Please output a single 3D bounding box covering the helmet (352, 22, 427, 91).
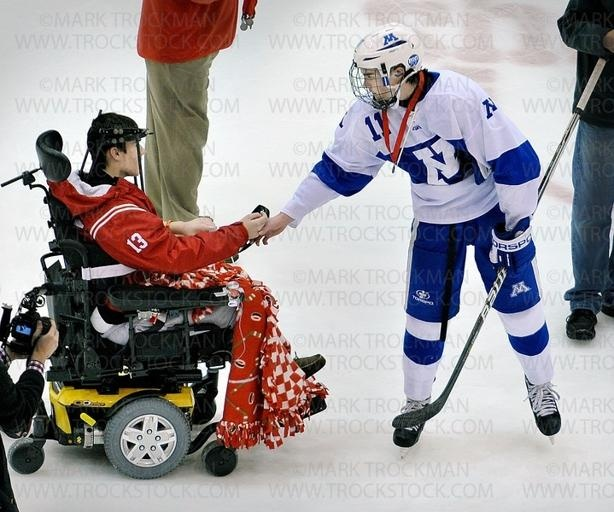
[{"bbox_3d":[0.334,-0.826,4.223,0.292,0.283,0.231,-7,29,-6],"label":"helmet"}]

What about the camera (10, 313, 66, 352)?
[{"bbox_3d":[-1.024,0.287,3.684,0.136,0.148,0.064,13,-15,-20],"label":"camera"}]

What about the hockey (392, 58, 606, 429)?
[{"bbox_3d":[0.915,0.032,4.754,0.356,2.118,0.159,24,6,-5],"label":"hockey"}]

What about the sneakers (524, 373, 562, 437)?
[{"bbox_3d":[1.067,0.687,4.474,0.113,0.272,0.096,-13,-25,10],"label":"sneakers"}]

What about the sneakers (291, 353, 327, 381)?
[{"bbox_3d":[0.011,0.515,4.542,0.112,0.146,0.352,-6,-10,5],"label":"sneakers"}]

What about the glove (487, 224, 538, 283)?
[{"bbox_3d":[0.893,-0.045,4.341,0.173,0.239,0.234,4,32,25],"label":"glove"}]

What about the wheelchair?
[{"bbox_3d":[-0.594,0.200,4.825,1.553,1.581,0.996,-2,14,-15],"label":"wheelchair"}]

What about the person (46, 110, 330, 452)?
[{"bbox_3d":[-0.488,0.118,4.352,1.080,1.527,0.527,-5,13,-3],"label":"person"}]

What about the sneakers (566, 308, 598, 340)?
[{"bbox_3d":[1.446,0.346,5.242,0.166,0.103,0.283,1,28,21],"label":"sneakers"}]
